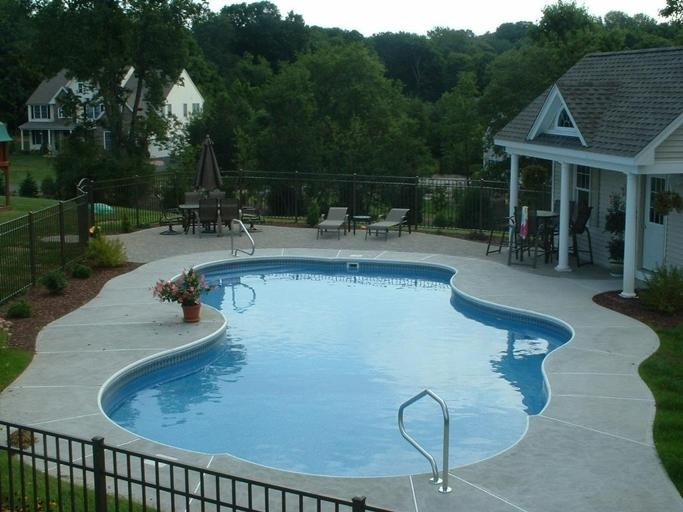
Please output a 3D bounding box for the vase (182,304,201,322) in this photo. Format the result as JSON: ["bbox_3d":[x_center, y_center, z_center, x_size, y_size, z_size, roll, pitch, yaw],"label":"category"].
[{"bbox_3d":[-3.429,1.305,16.629,0.423,0.340,0.414,1,6,14],"label":"vase"}]

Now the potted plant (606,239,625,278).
[{"bbox_3d":[7.655,0.055,20.234,0.393,1.079,0.908,4,7,19],"label":"potted plant"}]

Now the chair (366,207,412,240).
[{"bbox_3d":[1.737,-1.182,26.987,1.397,1.072,2.569,4,7,18],"label":"chair"}]

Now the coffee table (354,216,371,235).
[{"bbox_3d":[0.907,-1.370,29.674,0.870,0.835,0.840,0,9,-1],"label":"coffee table"}]

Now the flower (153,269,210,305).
[{"bbox_3d":[-3.798,0.787,16.902,1.233,0.827,1.295,4,5,31],"label":"flower"}]

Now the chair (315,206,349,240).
[{"bbox_3d":[-0.361,-1.201,26.979,0.960,0.871,1.418,2,11,15],"label":"chair"}]
